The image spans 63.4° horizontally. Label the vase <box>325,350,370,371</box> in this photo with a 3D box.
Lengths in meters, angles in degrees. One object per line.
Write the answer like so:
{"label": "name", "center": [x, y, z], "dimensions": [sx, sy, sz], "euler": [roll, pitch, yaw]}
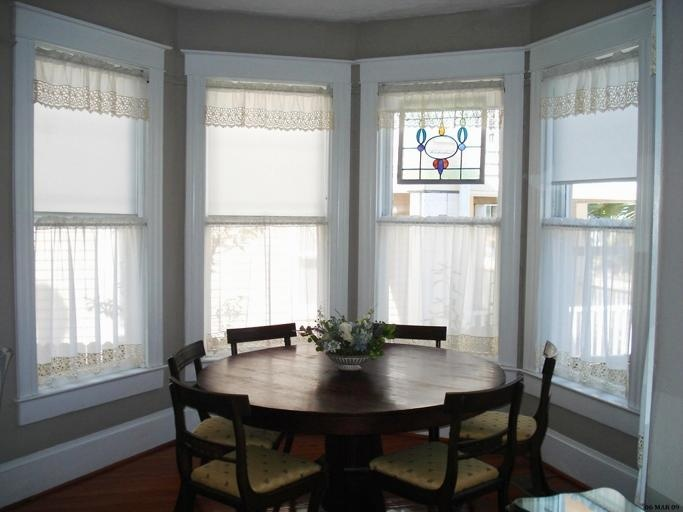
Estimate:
{"label": "vase", "center": [0.042, 0.610, 3.269], "dimensions": [0.239, 0.132, 0.211], "euler": [1, 10, 5]}

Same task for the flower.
{"label": "flower", "center": [0.045, 0.480, 3.252], "dimensions": [0.362, 0.207, 0.367], "euler": [2, -5, -16]}
